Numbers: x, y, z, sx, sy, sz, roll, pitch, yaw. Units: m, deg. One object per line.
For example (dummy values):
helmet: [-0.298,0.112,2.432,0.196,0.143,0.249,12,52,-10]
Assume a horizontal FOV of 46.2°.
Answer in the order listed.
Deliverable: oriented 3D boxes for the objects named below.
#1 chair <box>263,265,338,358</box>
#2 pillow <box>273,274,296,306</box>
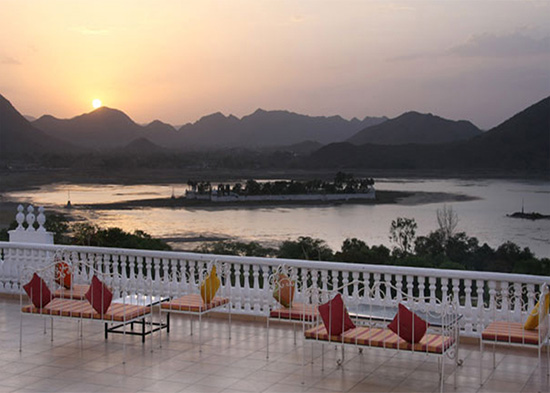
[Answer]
chair: [0.627,2.124,12.402,1.245,1.790,1.412,4,-1,18]
pillow: [0.246,1.719,12.189,0.530,0.660,0.345,-3,-6,41]
